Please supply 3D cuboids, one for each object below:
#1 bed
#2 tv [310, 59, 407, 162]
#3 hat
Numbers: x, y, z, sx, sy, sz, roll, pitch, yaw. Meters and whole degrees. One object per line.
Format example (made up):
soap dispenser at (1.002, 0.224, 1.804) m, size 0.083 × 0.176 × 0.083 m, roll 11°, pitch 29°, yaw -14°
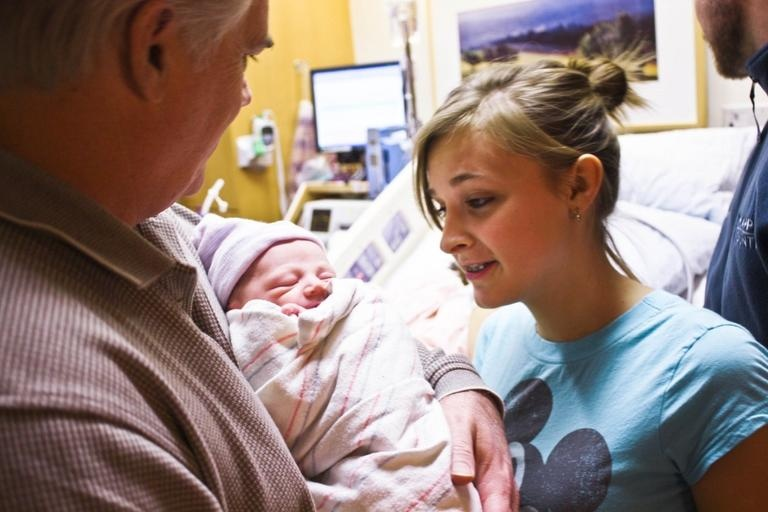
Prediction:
bed at (0.583, -0.200, 2.974) m, size 1.427 × 0.788 × 0.986 m, roll -24°, pitch 17°, yaw 26°
tv at (-0.137, -0.869, 4.293) m, size 0.668 × 0.573 × 0.094 m, roll 4°, pitch 23°, yaw 30°
hat at (-0.331, -0.038, 1.882) m, size 0.266 × 0.204 × 0.207 m, roll 22°, pitch 31°, yaw 32°
